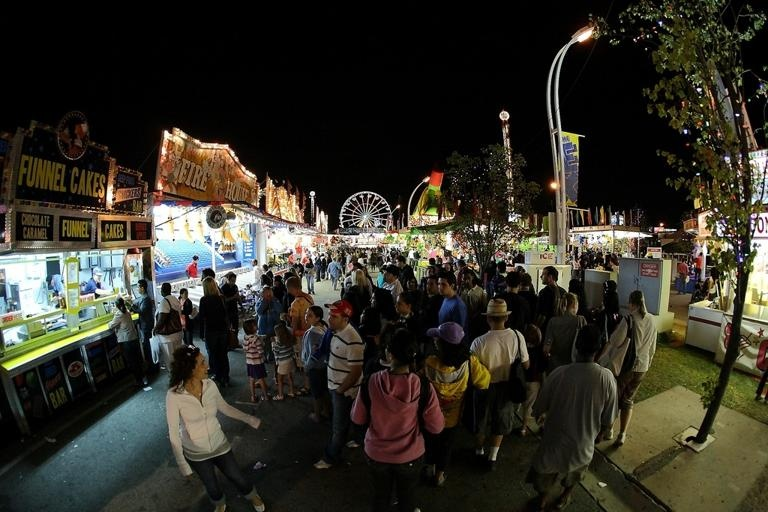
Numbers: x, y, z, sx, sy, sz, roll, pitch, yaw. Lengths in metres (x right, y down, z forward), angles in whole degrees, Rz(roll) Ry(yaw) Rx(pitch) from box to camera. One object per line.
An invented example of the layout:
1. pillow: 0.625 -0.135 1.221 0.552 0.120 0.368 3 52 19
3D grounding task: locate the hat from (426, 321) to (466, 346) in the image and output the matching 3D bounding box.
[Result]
1. hat: 0.912 1.074 6.605 0.454 0.258 0.302 20 38 17

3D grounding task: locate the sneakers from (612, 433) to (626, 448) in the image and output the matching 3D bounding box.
1. sneakers: 4.043 3.164 7.773 0.222 0.061 0.077 -20 27 -34

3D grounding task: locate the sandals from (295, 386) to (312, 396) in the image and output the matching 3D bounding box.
1. sandals: -1.649 2.820 9.385 0.220 0.164 0.407 2 -14 -4

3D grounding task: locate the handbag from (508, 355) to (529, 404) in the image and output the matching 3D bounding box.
1. handbag: 2.116 1.963 7.172 0.335 0.713 0.230 -2 3 -8

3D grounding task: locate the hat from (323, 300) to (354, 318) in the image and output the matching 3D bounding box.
1. hat: -0.689 0.818 7.263 0.353 0.200 0.245 30 1 -10

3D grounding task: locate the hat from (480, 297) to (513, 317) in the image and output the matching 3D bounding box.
1. hat: 1.966 0.896 7.843 0.504 0.263 0.663 -2 -3 7
